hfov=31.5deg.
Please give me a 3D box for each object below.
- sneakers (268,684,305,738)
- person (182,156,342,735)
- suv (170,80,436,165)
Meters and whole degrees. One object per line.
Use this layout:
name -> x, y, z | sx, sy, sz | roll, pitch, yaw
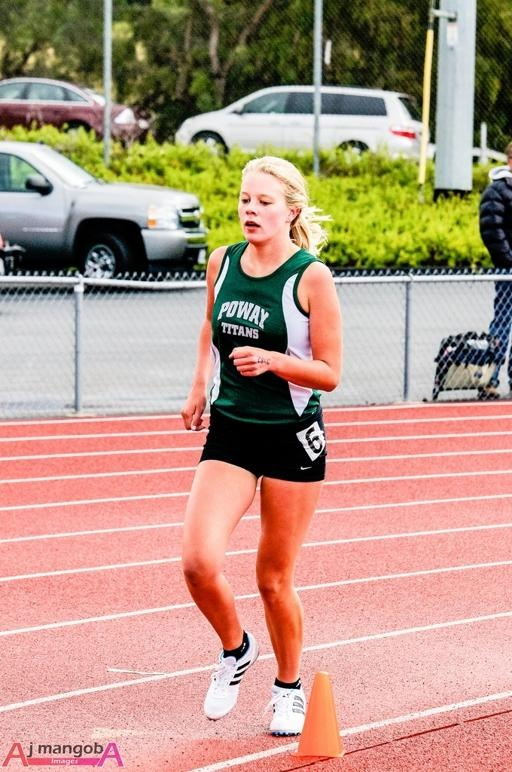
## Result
sneakers -> 0.093, 0.900, 2.557 | 0.077, 0.109, 0.242 | -12, -6, 16
person -> 0.008, 0.169, 2.542 | 0.431, 1.589, 0.594 | -1, 5, -5
suv -> 1.037, -5.632, 19.967 | 4.324, 1.702, 2.222 | 5, 8, 6
